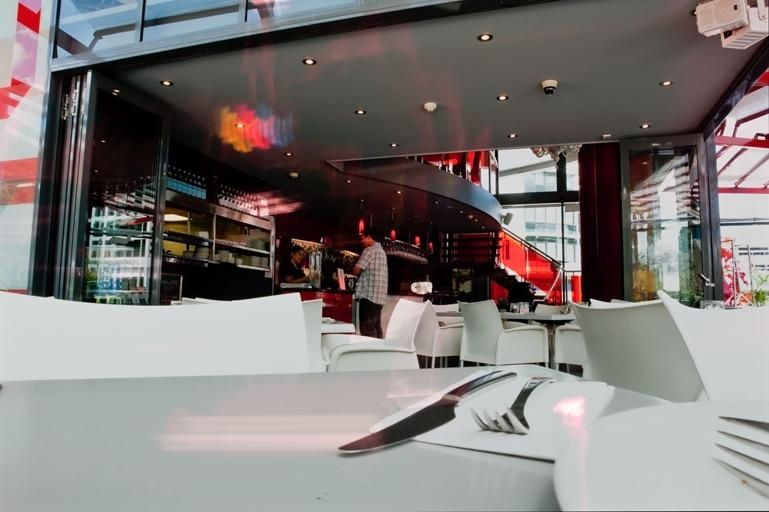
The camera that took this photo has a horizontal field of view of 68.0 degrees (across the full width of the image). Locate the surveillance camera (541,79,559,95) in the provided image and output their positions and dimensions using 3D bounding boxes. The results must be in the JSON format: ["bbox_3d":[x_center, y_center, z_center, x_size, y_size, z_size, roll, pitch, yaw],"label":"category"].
[{"bbox_3d":[1.496,-1.525,5.177,0.113,0.087,0.115,-2,-2,23],"label":"surveillance camera"}]

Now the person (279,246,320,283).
[{"bbox_3d":[-1.526,0.197,10.339,0.624,0.573,0.781,-2,-2,-4],"label":"person"}]

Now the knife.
[{"bbox_3d":[0.186,0.388,1.572,0.136,0.044,0.949,4,6,34],"label":"knife"}]
